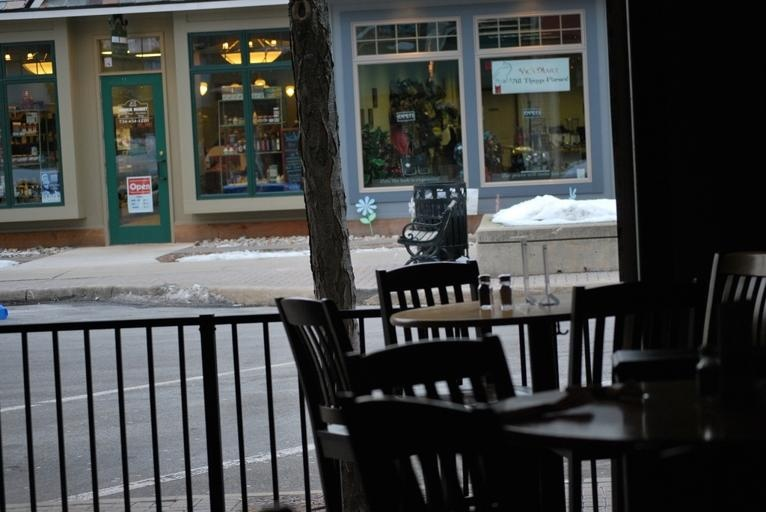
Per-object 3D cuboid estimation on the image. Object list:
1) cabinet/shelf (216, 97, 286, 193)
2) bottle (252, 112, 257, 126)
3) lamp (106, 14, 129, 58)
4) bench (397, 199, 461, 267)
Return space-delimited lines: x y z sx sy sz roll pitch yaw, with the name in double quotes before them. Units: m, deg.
"cabinet/shelf" -2.951 -2.463 21.193 1.840 2.963 0.968 -1 2 -3
"bottle" -2.789 -3.033 21.201 0.168 0.295 0.087 -5 8 -14
"lamp" -5.685 -4.763 20.653 0.140 0.993 0.596 6 15 21
"bench" 0.767 -0.395 15.607 0.924 1.317 0.978 1 3 7
